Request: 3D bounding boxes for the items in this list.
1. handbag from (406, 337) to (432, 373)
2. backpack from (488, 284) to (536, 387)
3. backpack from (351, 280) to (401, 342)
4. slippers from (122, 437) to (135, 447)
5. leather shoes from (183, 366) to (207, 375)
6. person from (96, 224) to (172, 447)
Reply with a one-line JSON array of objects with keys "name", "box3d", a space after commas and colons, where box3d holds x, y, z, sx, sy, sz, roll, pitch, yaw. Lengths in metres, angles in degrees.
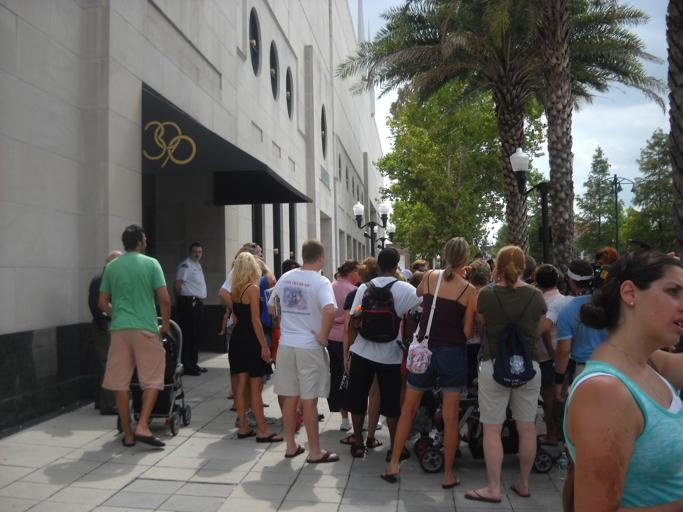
[{"name": "handbag", "box3d": [0.840, 1.079, 7.029, 0.257, 0.402, 0.275, 1, 2, 10]}, {"name": "backpack", "box3d": [1.749, 0.991, 6.596, 0.394, 0.648, 0.184, 2, 2, 16]}, {"name": "backpack", "box3d": [0.427, 0.655, 7.520, 0.400, 0.668, 0.621, 0, -5, 8]}, {"name": "slippers", "box3d": [-2.592, 2.226, 7.819, 0.137, 0.056, 0.082, 10, 1, 15]}, {"name": "leather shoes", "box3d": [-2.707, 2.100, 11.955, 0.405, 0.198, 0.141, 0, -2, -4]}, {"name": "person", "box3d": [-2.537, 0.957, 7.894, 0.825, 2.671, 0.515, 1, 2, -6]}]
